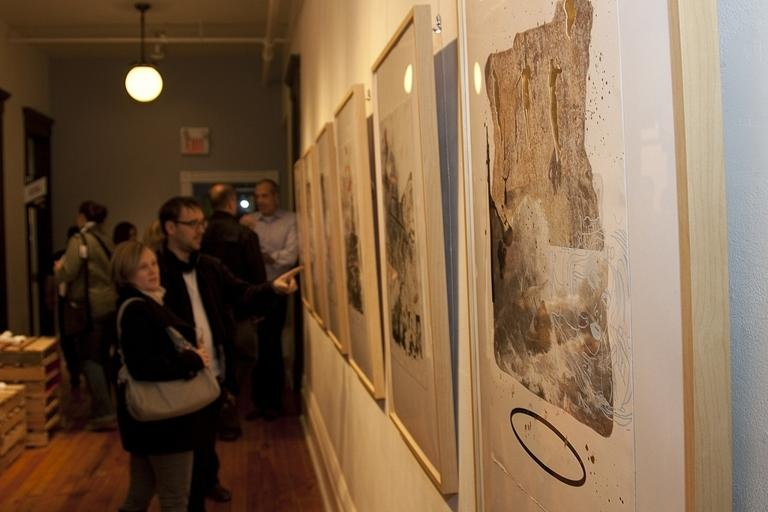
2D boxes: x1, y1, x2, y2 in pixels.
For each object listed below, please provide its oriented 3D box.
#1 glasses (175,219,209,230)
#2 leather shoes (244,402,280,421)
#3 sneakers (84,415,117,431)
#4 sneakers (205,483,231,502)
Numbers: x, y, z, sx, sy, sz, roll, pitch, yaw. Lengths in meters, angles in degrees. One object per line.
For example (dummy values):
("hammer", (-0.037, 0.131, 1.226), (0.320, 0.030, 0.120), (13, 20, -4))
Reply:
("glasses", (-1.086, -0.179, 3.411), (0.057, 0.053, 0.164), (0, 7, 37))
("leather shoes", (-1.148, 1.476, 5.805), (0.341, 0.182, 0.139), (4, -1, -4))
("sneakers", (-2.521, 1.458, 5.396), (0.173, 0.078, 0.148), (2, 3, -16))
("sneakers", (-1.149, 1.611, 4.226), (0.170, 0.083, 0.082), (6, 18, 11))
